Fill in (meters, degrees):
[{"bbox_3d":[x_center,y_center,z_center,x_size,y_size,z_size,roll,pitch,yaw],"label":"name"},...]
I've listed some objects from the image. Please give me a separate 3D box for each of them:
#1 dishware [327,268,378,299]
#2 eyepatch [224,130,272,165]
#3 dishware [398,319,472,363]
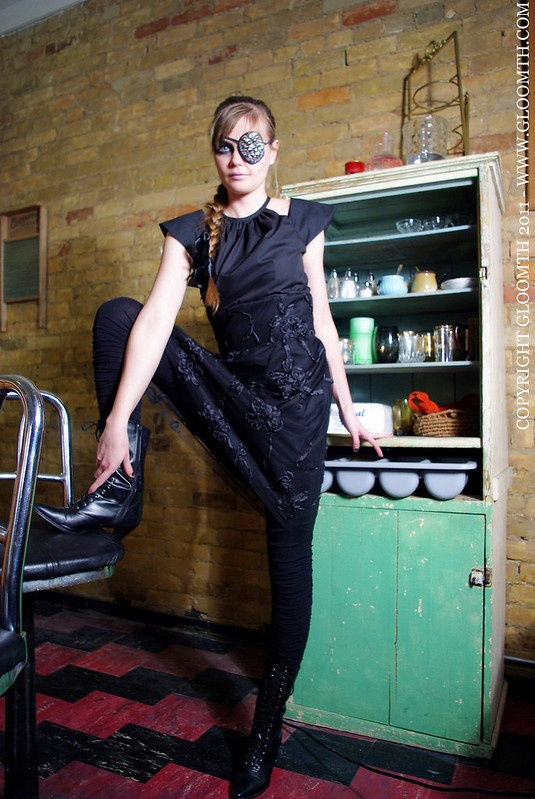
[{"bbox_3d":[0.286,-0.349,2.085,0.152,0.087,0.149,0,-2,15],"label":"dishware"},{"bbox_3d":[-0.044,-0.565,1.461,0.084,0.035,0.082,4,2,9],"label":"eyepatch"},{"bbox_3d":[0.498,-0.170,1.886,0.186,0.079,0.103,1,0,29],"label":"dishware"}]
